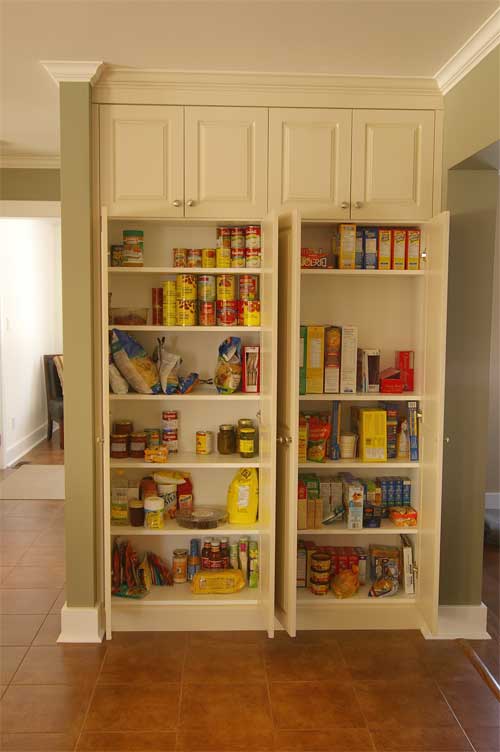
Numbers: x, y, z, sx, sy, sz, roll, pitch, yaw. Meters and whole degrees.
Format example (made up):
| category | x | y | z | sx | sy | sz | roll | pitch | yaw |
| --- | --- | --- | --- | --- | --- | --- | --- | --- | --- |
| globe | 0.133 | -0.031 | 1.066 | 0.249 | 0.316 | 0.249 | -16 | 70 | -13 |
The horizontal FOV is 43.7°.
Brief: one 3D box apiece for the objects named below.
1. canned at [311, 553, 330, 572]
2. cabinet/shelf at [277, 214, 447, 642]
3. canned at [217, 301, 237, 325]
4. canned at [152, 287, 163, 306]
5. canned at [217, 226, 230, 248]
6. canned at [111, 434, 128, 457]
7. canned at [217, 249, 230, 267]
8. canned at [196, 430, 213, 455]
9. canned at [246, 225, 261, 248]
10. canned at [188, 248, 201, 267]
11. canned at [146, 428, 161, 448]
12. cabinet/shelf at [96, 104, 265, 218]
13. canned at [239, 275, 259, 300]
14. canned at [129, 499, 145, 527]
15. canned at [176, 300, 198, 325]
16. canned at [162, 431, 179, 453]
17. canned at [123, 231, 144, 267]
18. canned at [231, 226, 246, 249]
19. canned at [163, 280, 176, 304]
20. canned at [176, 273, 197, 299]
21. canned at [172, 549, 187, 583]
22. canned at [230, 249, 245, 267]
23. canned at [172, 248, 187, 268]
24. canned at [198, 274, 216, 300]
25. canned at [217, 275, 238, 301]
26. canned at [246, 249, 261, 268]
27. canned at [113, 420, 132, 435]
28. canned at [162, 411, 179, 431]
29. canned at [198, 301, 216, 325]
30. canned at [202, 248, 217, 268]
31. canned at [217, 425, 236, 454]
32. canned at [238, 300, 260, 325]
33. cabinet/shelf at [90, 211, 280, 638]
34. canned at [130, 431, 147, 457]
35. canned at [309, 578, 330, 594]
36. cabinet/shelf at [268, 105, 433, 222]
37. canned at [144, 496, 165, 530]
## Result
| category | x | y | z | sx | sy | sz | roll | pitch | yaw |
| --- | --- | --- | --- | --- | --- | --- | --- | --- | --- |
| canned | 0.313 | 0.824 | 2.774 | 0.067 | 0.066 | 0.068 | 1 | -2 | -36 |
| cabinet/shelf | 0.477 | 0.217 | 2.668 | 0.729 | 1.777 | 0.638 | 1 | 4 | 3 |
| canned | -0.096 | -0.264 | 2.621 | 0.089 | 0.103 | 0.092 | 0 | 4 | 0 |
| canned | -0.399 | -0.341 | 2.690 | 0.039 | 0.077 | 0.074 | 0 | 4 | -15 |
| canned | -0.112 | -0.588 | 2.639 | 0.057 | 0.100 | 0.042 | 3 | 4 | 25 |
| canned | -0.569 | 0.304 | 2.716 | 0.080 | 0.093 | 0.082 | 0 | 1 | -3 |
| canned | -0.110 | -0.497 | 2.625 | 0.067 | 0.081 | 0.069 | 0 | 0 | -12 |
| canned | -0.205 | 0.299 | 2.792 | 0.090 | 0.153 | 0.087 | 0 | 0 | -11 |
| canned | 0.009 | -0.582 | 2.618 | 0.073 | 0.100 | 0.038 | 2 | 4 | 21 |
| canned | -0.227 | -0.493 | 2.612 | 0.064 | 0.073 | 0.065 | 2 | 7 | 16 |
| canned | -0.427 | 0.280 | 2.803 | 0.065 | 0.120 | 0.067 | 0 | 2 | -4 |
| cabinet/shelf | -0.251 | -0.886 | 2.659 | 0.661 | 0.432 | 0.370 | 2 | 12 | 4 |
| canned | -0.005 | -0.373 | 2.676 | 0.100 | 0.120 | 0.103 | 0 | 2 | -1 |
| canned | -0.497 | 0.602 | 2.728 | 0.076 | 0.108 | 0.056 | 1 | 4 | 1 |
| canned | -0.263 | -0.262 | 2.604 | 0.090 | 0.106 | 0.093 | -1 | 2 | -9 |
| canned | -0.345 | 0.294 | 2.813 | 0.083 | 0.097 | 0.089 | -1 | 4 | -5 |
| canned | -0.486 | -0.526 | 2.588 | 0.076 | 0.150 | 0.064 | 0 | 4 | -9 |
| canned | -0.047 | -0.584 | 2.643 | 0.060 | 0.096 | 0.043 | 0 | 4 | -10 |
| canned | -0.336 | -0.350 | 2.611 | 0.072 | 0.121 | 0.075 | 0 | 1 | 0 |
| canned | -0.264 | -0.371 | 2.603 | 0.093 | 0.109 | 0.096 | 0 | 5 | -3 |
| canned | -0.317 | 0.875 | 2.847 | 0.069 | 0.126 | 0.129 | 0 | 1 | -2 |
| canned | -0.047 | -0.502 | 2.644 | 0.059 | 0.079 | 0.034 | 0 | 4 | -10 |
| canned | -0.295 | -0.497 | 2.610 | 0.061 | 0.082 | 0.052 | 2 | 4 | 13 |
| canned | -0.180 | -0.370 | 2.636 | 0.091 | 0.105 | 0.093 | 0 | 6 | -5 |
| canned | -0.101 | -0.372 | 2.642 | 0.066 | 0.118 | 0.069 | 0 | 4 | -14 |
| canned | 0.014 | -0.493 | 2.618 | 0.072 | 0.086 | 0.074 | -1 | 8 | -2 |
| canned | -0.564 | 0.227 | 2.762 | 0.060 | 0.055 | 0.061 | 1 | -1 | -6 |
| canned | -0.351 | 0.194 | 2.811 | 0.081 | 0.137 | 0.078 | 0 | 22 | -4 |
| canned | -0.180 | -0.262 | 2.626 | 0.083 | 0.096 | 0.085 | -1 | 5 | -4 |
| canned | -0.173 | -0.500 | 2.649 | 0.057 | 0.081 | 0.051 | 0 | 4 | -7 |
| canned | -0.104 | 0.284 | 2.795 | 0.111 | 0.174 | 0.109 | 0 | 0 | -4 |
| canned | 0.002 | -0.265 | 2.628 | 0.096 | 0.109 | 0.100 | -1 | 4 | 2 |
| cabinet/shelf | -0.259 | 0.206 | 2.660 | 0.745 | 1.769 | 0.525 | 1 | 4 | 2 |
| canned | -0.493 | 0.300 | 2.756 | 0.092 | 0.137 | 0.094 | 1 | 3 | -3 |
| canned | 0.311 | 0.926 | 2.755 | 0.070 | 0.053 | 0.071 | 0 | 5 | -22 |
| cabinet/shelf | 0.416 | -0.887 | 2.721 | 0.677 | 0.435 | 0.362 | 0 | 6 | -3 |
| canned | -0.418 | 0.592 | 2.734 | 0.090 | 0.129 | 0.136 | 0 | 4 | -8 |
